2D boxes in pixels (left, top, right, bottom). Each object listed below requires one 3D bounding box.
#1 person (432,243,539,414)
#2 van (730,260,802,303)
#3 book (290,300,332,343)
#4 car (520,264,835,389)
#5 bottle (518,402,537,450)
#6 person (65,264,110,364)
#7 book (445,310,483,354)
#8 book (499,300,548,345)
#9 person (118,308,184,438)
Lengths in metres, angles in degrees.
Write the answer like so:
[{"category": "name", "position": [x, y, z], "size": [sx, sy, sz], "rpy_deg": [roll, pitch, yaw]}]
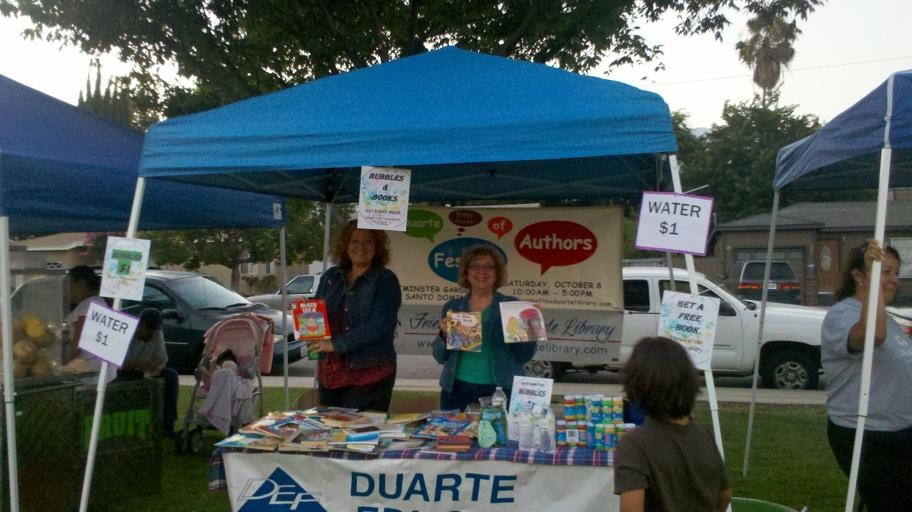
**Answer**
[{"category": "person", "position": [0.365, 0.766, 8.535], "size": [0.843, 2.019, 0.970], "rpy_deg": [0, 0, 5]}, {"category": "van", "position": [7.869, 0.687, 18.480], "size": [1.500, 1.194, 3.257], "rpy_deg": [1, 0, 15]}, {"category": "book", "position": [-1.649, 0.737, 8.299], "size": [0.440, 0.471, 0.301], "rpy_deg": [3, -3, -12]}, {"category": "car", "position": [4.075, 1.396, 13.913], "size": [5.960, 2.305, 2.641], "rpy_deg": [-1, -3, 20]}, {"category": "bottle", "position": [0.735, 1.771, 7.550], "size": [0.187, 0.470, 0.069], "rpy_deg": [2, -3, 4]}, {"category": "person", "position": [-4.443, 0.744, 8.729], "size": [0.461, 1.232, 0.474], "rpy_deg": [0, -1, -5]}, {"category": "book", "position": [0.090, 0.854, 8.139], "size": [0.533, 0.492, 0.069], "rpy_deg": [0, -3, 6]}, {"category": "book", "position": [0.725, 0.741, 8.059], "size": [0.504, 0.462, 0.172], "rpy_deg": [2, -3, 2]}, {"category": "person", "position": [-4.295, 1.679, 10.153], "size": [0.796, 1.867, 1.423], "rpy_deg": [3, -4, -21]}]
